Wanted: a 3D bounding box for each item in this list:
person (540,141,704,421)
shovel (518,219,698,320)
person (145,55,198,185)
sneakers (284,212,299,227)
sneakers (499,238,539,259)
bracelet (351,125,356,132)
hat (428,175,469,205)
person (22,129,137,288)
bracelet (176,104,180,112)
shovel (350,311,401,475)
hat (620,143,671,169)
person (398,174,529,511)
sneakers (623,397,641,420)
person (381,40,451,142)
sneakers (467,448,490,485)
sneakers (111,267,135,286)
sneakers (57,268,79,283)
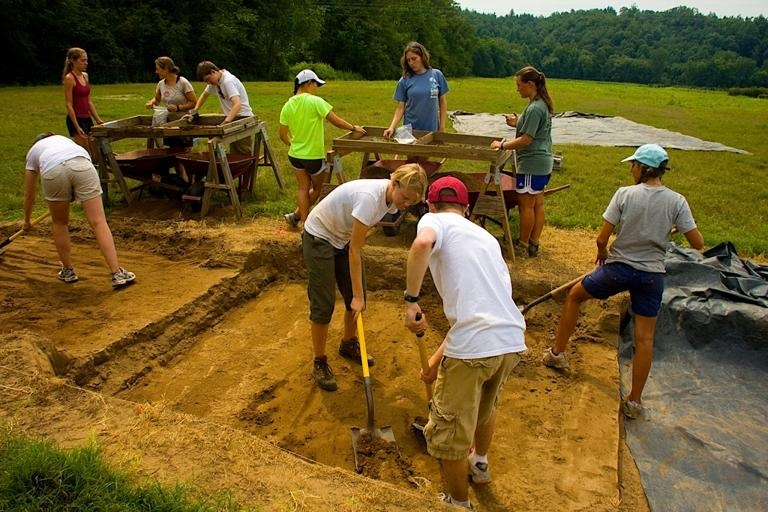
[{"bbox_3d":[3.250,0.266,7.797,1.411,3.353,1.181,14,26,27],"label":"person"},{"bbox_3d":[3.263,0.247,8.566,2.498,0.381,0.356,-29,33,2],"label":"shovel"},{"bbox_3d":[-4.380,-2.884,12.180,0.885,2.391,1.519,-10,26,-25],"label":"person"},{"bbox_3d":[-1.655,-0.661,10.446,0.175,0.145,0.393,-9,-2,7],"label":"sneakers"},{"bbox_3d":[2.259,-0.123,9.777,0.511,0.224,0.176,18,24,10],"label":"sneakers"},{"bbox_3d":[-0.559,-2.267,10.385,0.074,0.079,0.075,8,56,3],"label":"bracelet"},{"bbox_3d":[0.710,-0.730,6.620,0.273,0.233,0.415,2,23,5],"label":"hat"},{"bbox_3d":[-4.782,-0.950,8.823,0.987,1.516,3.259,0,42,-37],"label":"person"},{"bbox_3d":[-4.265,-3.039,12.072,0.059,0.136,0.066,-11,26,-27],"label":"bracelet"},{"bbox_3d":[-0.134,1.626,7.233,0.557,1.550,1.321,0,24,-3],"label":"shovel"},{"bbox_3d":[3.383,-1.280,7.654,0.385,0.317,0.593,-18,15,-41],"label":"hat"},{"bbox_3d":[0.816,1.208,6.515,1.167,3.145,1.112,22,30,38],"label":"person"},{"bbox_3d":[3.272,2.031,7.788,0.288,0.292,0.198,1,-7,-9],"label":"sneakers"},{"bbox_3d":[0.641,-2.996,10.573,1.091,1.587,0.882,-2,24,-8],"label":"person"},{"bbox_3d":[1.118,2.490,7.045,0.193,0.225,0.477,-4,15,-4],"label":"sneakers"},{"bbox_3d":[-4.002,0.312,9.109,0.176,0.207,0.429,4,12,18],"label":"sneakers"},{"bbox_3d":[-4.942,0.281,9.104,0.146,0.173,0.362,-8,15,-34],"label":"sneakers"}]
